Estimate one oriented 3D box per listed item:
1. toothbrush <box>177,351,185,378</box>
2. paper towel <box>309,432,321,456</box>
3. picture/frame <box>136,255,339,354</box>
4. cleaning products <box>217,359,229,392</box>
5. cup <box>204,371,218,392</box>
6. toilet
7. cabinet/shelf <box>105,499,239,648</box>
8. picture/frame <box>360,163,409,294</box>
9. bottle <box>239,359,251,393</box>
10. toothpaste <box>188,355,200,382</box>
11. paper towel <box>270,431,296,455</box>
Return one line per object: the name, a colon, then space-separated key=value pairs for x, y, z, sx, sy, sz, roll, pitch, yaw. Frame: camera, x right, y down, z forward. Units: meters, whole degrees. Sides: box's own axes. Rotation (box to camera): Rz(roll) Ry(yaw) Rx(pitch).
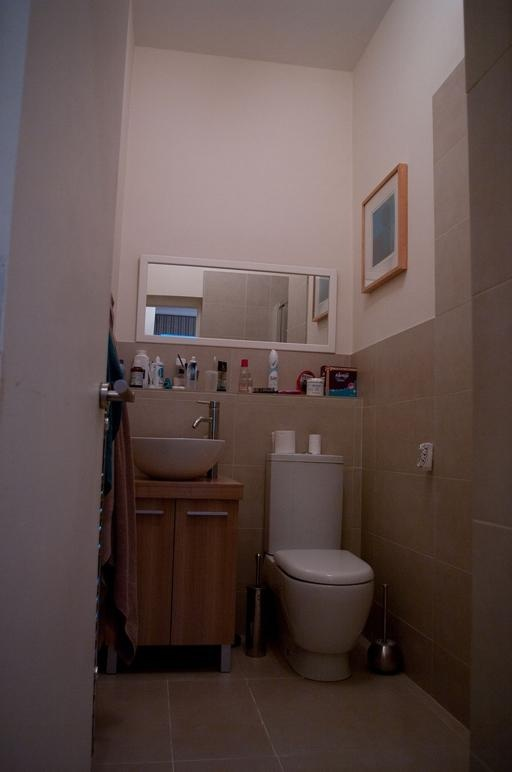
toothbrush: x=-0.388 y=-0.103 z=2.935 sx=0.047 sy=0.136 sz=0.079 roll=2 pitch=-6 yaw=-12
paper towel: x=0.274 y=0.279 z=2.713 sx=0.050 sy=0.136 sz=0.072 roll=0 pitch=-3 yaw=-4
picture/frame: x=-0.083 y=-0.419 z=3.092 sx=1.036 sy=0.067 sz=0.703 roll=1 pitch=-37 yaw=-6
cleaning products: x=-0.175 y=-0.050 z=2.929 sx=0.056 sy=0.176 sz=0.130 roll=1 pitch=-6 yaw=-4
cup: x=-0.227 y=-0.020 z=2.854 sx=0.057 sy=0.184 sz=0.073 roll=-1 pitch=5 yaw=-18
toilet: x=0.234 y=0.698 z=2.346 sx=0.385 sy=0.838 sz=0.734 roll=1 pitch=-6 yaw=0
cabinet/shelf: x=-0.323 y=0.673 z=2.316 sx=0.361 sy=0.837 sz=0.426 roll=1 pitch=-10 yaw=-7
picture/frame: x=0.595 y=-0.719 z=2.714 sx=0.021 sy=0.496 sz=0.382 roll=3 pitch=-6 yaw=-17
bottle: x=-0.057 y=-0.055 z=2.968 sx=0.068 sy=0.174 sz=0.100 roll=1 pitch=-6 yaw=-2
toothpaste: x=-0.325 y=-0.074 z=2.910 sx=0.059 sy=0.141 sz=0.131 roll=1 pitch=-6 yaw=-7
paper towel: x=0.120 y=0.275 z=2.708 sx=0.087 sy=0.133 sz=0.084 roll=-6 pitch=-5 yaw=24
